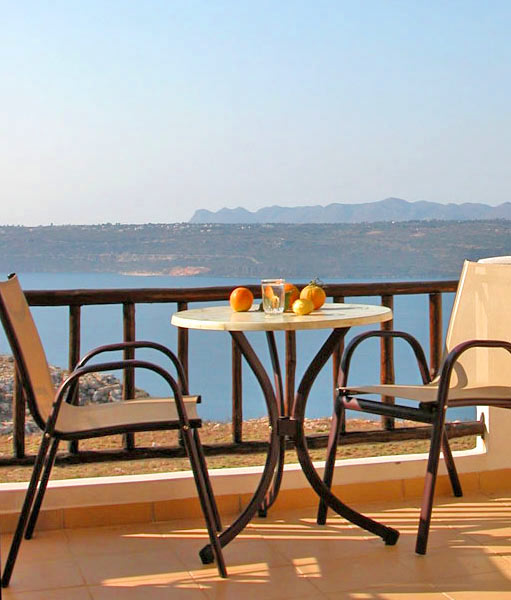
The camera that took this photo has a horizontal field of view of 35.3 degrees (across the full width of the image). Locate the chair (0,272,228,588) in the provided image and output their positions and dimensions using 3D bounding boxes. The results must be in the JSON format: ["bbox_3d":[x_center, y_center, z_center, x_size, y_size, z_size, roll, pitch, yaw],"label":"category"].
[{"bbox_3d":[-0.379,0.335,2.675,0.966,1.063,0.734,-2,4,-5],"label":"chair"}]

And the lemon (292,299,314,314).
[{"bbox_3d":[0.137,0.014,2.355,0.052,0.039,0.048,-8,13,-25],"label":"lemon"}]

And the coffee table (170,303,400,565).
[{"bbox_3d":[0.071,0.346,2.513,0.886,0.779,0.753,-1,0,-18],"label":"coffee table"}]

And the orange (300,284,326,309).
[{"bbox_3d":[0.179,-0.015,2.468,0.083,0.086,0.080,-4,9,-41],"label":"orange"}]

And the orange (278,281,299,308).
[{"bbox_3d":[0.111,-0.010,2.462,0.071,0.073,0.070,7,6,38],"label":"orange"}]

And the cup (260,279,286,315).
[{"bbox_3d":[0.054,-0.011,2.387,0.065,0.097,0.128,-2,5,1],"label":"cup"}]

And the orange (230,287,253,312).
[{"bbox_3d":[-0.043,0.001,2.523,0.080,0.081,0.072,-6,19,-3],"label":"orange"}]
